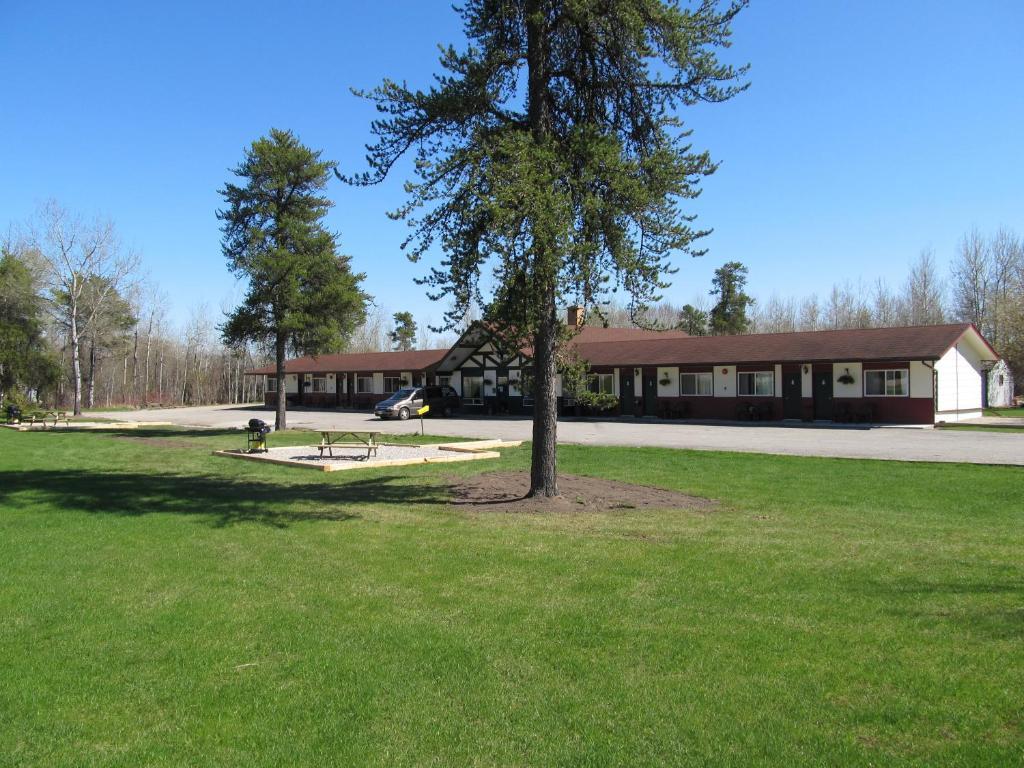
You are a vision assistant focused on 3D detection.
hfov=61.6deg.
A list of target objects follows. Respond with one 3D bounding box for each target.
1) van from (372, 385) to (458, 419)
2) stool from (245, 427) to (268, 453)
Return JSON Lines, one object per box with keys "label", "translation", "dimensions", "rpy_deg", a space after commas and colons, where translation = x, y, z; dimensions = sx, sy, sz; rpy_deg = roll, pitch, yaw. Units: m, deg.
{"label": "van", "translation": [-4.979, 0.962, 45.027], "dimensions": [1.816, 1.422, 3.860], "rpy_deg": [-4, -4, 41]}
{"label": "stool", "translation": [-7.360, 1.622, 24.685], "dimensions": [0.708, 0.931, 0.694], "rpy_deg": [3, -5, -16]}
